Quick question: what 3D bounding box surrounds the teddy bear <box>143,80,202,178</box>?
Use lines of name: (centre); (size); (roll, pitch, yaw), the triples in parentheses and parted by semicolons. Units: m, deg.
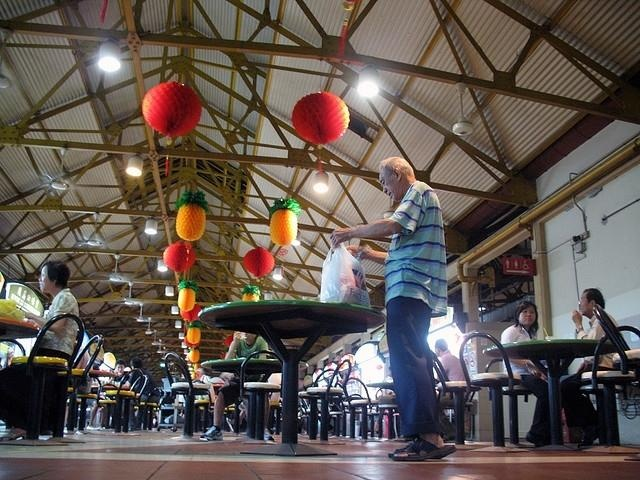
teddy bear: (-1.623, -1.145, 5.639); (0.594, 1.274, 0.618); (12, -51, -19)

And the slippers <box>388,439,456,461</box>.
slippers: (0.638, 1.323, 3.216); (0.403, 0.118, 0.149); (1, -24, -2)

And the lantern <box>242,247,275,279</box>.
lantern: (-0.970, 0.382, 8.551); (0.543, 0.565, 0.521); (-4, 14, -26)

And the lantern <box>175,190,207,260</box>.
lantern: (-1.720, -0.382, 7.080); (0.383, 0.826, 0.468); (4, -21, -15)

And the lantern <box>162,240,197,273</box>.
lantern: (-2.247, 0.245, 8.528); (0.538, 0.518, 0.539); (0, -28, -4)

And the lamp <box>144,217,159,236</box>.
lamp: (-3.721, -0.357, 11.592); (0.242, 0.505, 0.557); (7, -21, -21)

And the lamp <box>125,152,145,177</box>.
lamp: (-3.448, -1.485, 9.777); (0.249, 0.668, 0.610); (5, -21, -17)

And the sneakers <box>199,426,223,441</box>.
sneakers: (-1.151, 2.119, 5.522); (0.311, 0.154, 0.120); (26, -33, -31)

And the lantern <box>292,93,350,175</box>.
lantern: (0.048, -1.214, 5.539); (0.654, 0.687, 0.599); (3, 4, 38)

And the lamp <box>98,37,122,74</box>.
lamp: (-2.663, -2.410, 6.643); (0.259, 0.390, 0.295); (10, -22, -28)

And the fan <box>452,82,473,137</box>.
fan: (2.246, -2.106, 8.038); (0.435, 1.089, 0.433); (1, -43, 12)

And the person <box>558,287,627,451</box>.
person: (3.104, 1.271, 5.769); (0.585, 1.555, 0.499); (-7, 21, 31)

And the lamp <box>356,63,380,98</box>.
lamp: (0.605, -1.994, 6.393); (0.249, 0.297, 0.310); (6, -21, -20)

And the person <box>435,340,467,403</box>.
person: (1.955, 1.936, 7.710); (0.342, 0.917, 0.292); (-7, 21, 11)

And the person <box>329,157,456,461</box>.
person: (0.566, 0.473, 3.385); (0.622, 1.851, 0.400); (-1, -20, 0)

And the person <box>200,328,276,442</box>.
person: (-1.129, 1.603, 6.054); (0.475, 1.321, 0.841); (-5, -11, 19)
